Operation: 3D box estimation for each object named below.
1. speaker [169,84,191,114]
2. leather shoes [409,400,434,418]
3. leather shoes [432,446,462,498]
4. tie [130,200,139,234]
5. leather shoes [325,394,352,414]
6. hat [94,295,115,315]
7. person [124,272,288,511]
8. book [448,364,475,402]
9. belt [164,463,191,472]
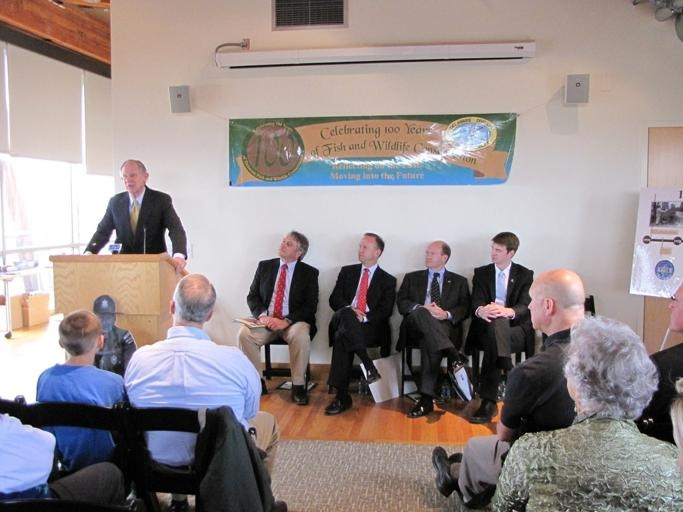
[{"bbox_3d":[-1.529,-1.487,5.521,0.196,0.256,0.105,-4,11,-14],"label":"speaker"},{"bbox_3d":[0.627,1.196,4.547,0.232,0.175,0.092,0,-3,-22],"label":"leather shoes"},{"bbox_3d":[0.612,1.323,3.550,0.128,0.298,0.281,7,-24,-10],"label":"leather shoes"},{"bbox_3d":[-1.615,-0.311,4.555,0.080,0.244,0.049,4,12,26],"label":"tie"},{"bbox_3d":[-0.027,1.188,4.596,0.091,0.100,0.259,-5,-8,30],"label":"leather shoes"},{"bbox_3d":[-1.513,0.319,3.718,0.118,0.125,0.116,0,0,-19],"label":"hat"},{"bbox_3d":[-0.652,0.769,2.966,0.768,1.269,0.564,-8,13,-33],"label":"person"},{"bbox_3d":[0.942,1.001,4.559,0.196,0.294,0.067,-27,3,4],"label":"book"},{"bbox_3d":[-0.793,1.035,2.817,0.122,0.032,0.029,-1,11,0],"label":"belt"}]
